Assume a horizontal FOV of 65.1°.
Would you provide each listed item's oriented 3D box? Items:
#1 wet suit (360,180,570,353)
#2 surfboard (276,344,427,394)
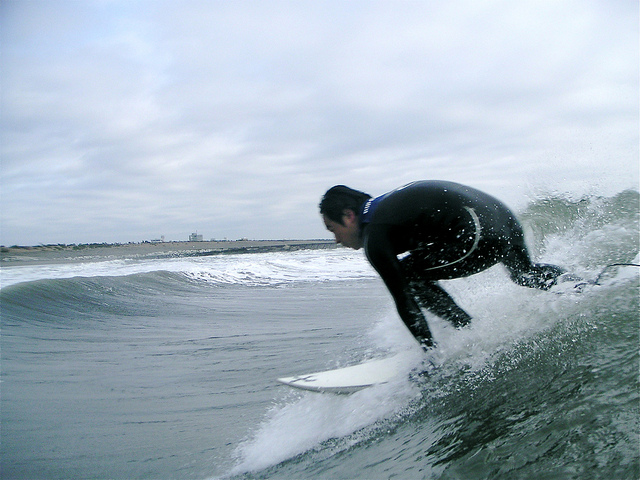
[{"bbox_3d":[1.072,0.177,4.274,2.255,0.995,1.320,-12,29,27],"label":"wet suit"},{"bbox_3d":[0.355,1.359,5.250,2.011,0.169,0.539,-11,0,37],"label":"surfboard"}]
